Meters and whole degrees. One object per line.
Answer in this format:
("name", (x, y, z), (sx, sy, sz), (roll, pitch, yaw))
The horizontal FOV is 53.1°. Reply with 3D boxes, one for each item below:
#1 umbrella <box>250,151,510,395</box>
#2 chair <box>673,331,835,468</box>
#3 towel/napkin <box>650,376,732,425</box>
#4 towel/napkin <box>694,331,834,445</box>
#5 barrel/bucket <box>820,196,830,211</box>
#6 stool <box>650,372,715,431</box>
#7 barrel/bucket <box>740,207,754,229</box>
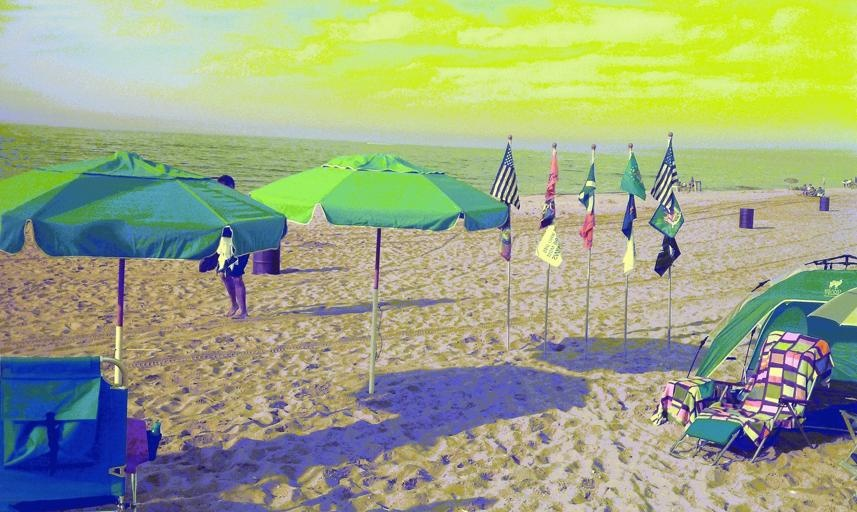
("umbrella", (-0.766, -0.307, 13.939), (4.577, 2.583, 4.032), (-3, 11, -28))
("chair", (4.745, 1.867, 12.894), (2.719, 1.465, 1.535), (-18, 18, -23))
("towel/napkin", (3.889, 2.149, 12.881), (1.051, 0.615, 1.022), (-3, 0, 13))
("towel/napkin", (4.839, 1.955, 12.330), (2.605, 1.490, 1.411), (0, 4, -23))
("barrel/bucket", (13.851, -1.827, 30.098), (0.282, 0.465, 0.449), (4, 10, 17))
("stool", (3.722, 2.118, 12.683), (0.799, 0.496, 0.823), (4, 7, 30))
("barrel/bucket", (9.379, -1.115, 25.308), (0.419, 0.580, 0.438), (1, 9, 0))
